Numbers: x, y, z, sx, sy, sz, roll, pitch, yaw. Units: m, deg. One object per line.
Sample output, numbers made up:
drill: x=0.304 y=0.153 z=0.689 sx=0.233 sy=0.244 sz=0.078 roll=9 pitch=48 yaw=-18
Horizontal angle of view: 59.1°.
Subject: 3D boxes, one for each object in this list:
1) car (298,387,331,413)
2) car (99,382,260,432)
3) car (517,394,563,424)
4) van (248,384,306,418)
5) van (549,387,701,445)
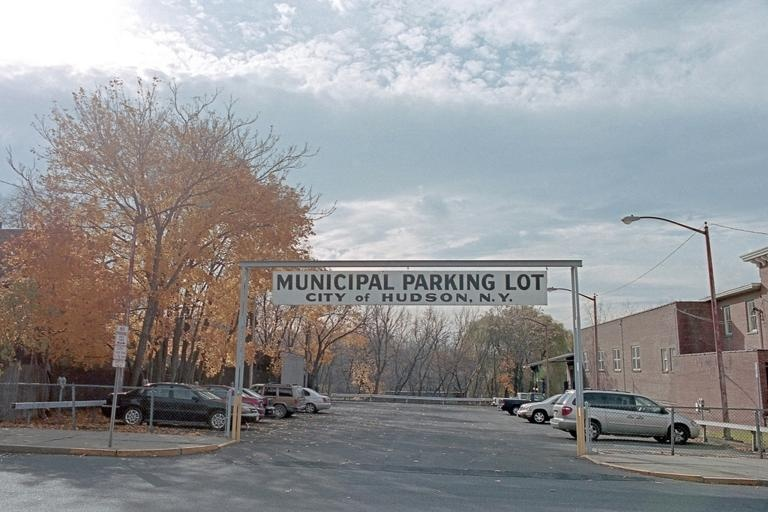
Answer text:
car: x=-4.320 y=9.603 z=44.919 sx=2.601 sy=0.882 sz=1.091 roll=3 pitch=-10 yaw=7
car: x=-9.330 y=6.667 z=30.215 sx=5.878 sy=1.652 sz=2.334 roll=1 pitch=-11 yaw=-5
car: x=9.498 y=9.443 z=42.034 sx=3.674 sy=1.360 sz=1.687 roll=0 pitch=-16 yaw=8
van: x=-6.577 y=8.681 z=41.325 sx=3.143 sy=1.491 sz=1.831 roll=6 pitch=-19 yaw=1
van: x=10.715 y=7.197 z=30.591 sx=5.794 sy=2.432 sz=1.950 roll=-2 pitch=-15 yaw=6
